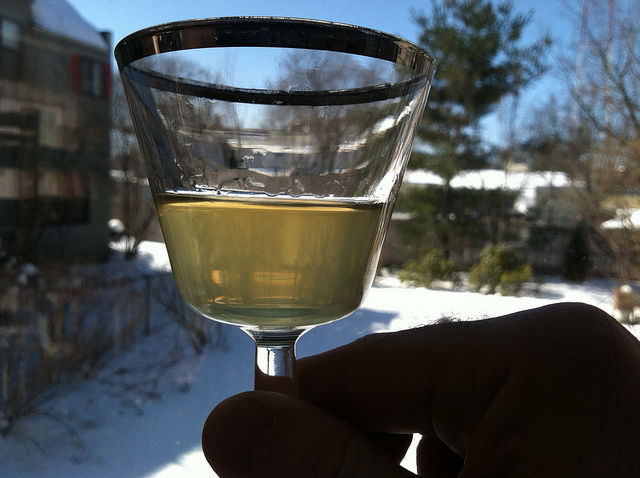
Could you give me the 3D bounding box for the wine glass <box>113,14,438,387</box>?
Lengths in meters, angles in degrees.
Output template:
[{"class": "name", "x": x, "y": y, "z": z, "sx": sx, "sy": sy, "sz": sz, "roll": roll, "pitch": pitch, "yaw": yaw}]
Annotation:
[{"class": "wine glass", "x": -0.043, "y": -0.052, "z": 0.407, "sx": 0.240, "sy": 0.215, "sz": 0.094, "roll": 5, "pitch": 12, "yaw": 9}]
